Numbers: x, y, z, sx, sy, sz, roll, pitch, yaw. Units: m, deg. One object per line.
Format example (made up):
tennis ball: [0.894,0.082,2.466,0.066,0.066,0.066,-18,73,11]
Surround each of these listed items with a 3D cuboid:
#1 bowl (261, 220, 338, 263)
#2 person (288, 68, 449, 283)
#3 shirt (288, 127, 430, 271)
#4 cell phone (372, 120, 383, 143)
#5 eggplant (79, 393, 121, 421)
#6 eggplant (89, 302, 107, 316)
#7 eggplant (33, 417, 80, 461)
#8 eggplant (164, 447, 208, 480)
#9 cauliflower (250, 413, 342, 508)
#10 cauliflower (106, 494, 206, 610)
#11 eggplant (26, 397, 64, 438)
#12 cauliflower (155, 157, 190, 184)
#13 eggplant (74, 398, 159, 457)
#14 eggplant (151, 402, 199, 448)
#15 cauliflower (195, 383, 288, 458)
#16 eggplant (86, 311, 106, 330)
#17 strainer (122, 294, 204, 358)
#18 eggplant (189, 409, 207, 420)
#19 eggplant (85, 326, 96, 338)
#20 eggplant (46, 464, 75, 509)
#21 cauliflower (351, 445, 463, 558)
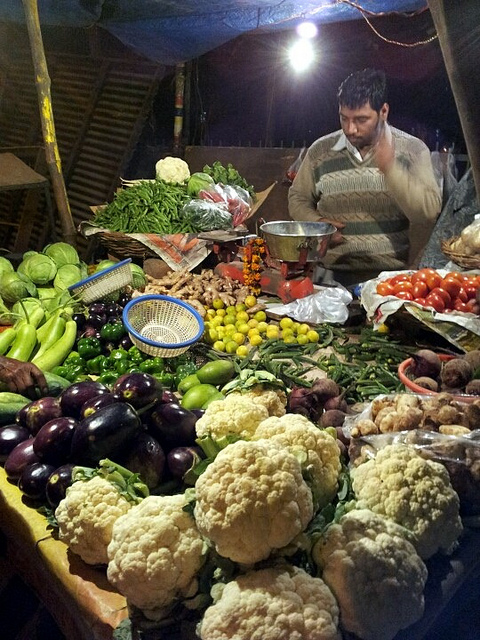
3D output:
bowl: [0.521,-0.690,4.138,0.597,0.334,0.725,-4,16,14]
person: [1.192,-1.326,4.792,0.703,1.953,1.335,-24,22,-39]
shirt: [1.229,-1.197,4.917,1.406,1.442,0.533,-1,19,26]
cell phone: [1.256,-1.731,4.381,0.042,0.164,0.045,8,42,-7]
eggplant: [-0.567,0.326,1.926,0.178,0.079,0.082,-20,38,-21]
eggplant: [-1.072,-0.090,3.626,0.093,0.060,0.112,-6,11,-3]
eggplant: [-0.750,0.488,1.944,0.208,0.159,0.144,-13,17,-16]
eggplant: [-0.209,0.546,1.848,0.140,0.078,0.110,0,-10,45]
cauliflower: [0.214,0.440,1.746,0.338,0.268,0.438,-3,11,-15]
cauliflower: [-0.250,0.690,1.413,0.275,0.230,0.229,-12,17,-12]
eggplant: [-0.861,0.404,2.103,0.189,0.196,0.171,-4,-1,-12]
cauliflower: [-0.853,-1.869,5.960,0.379,0.152,0.394,-27,49,-29]
eggplant: [-0.446,0.374,1.781,0.288,0.115,0.124,-21,55,-31]
eggplant: [-0.282,0.419,2.004,0.182,0.103,0.144,31,23,29]
cauliflower: [-0.018,0.386,1.921,0.294,0.214,0.479,-7,13,-24]
eggplant: [-1.056,0.006,3.542,0.159,0.106,0.107,-13,17,-16]
strainer: [-0.524,0.033,3.240,0.489,0.179,0.459,17,37,-8]
eggplant: [-0.182,0.407,2.078,0.060,0.035,0.057,2,-2,-7]
eggplant: [-1.073,0.084,3.441,0.049,0.056,0.047,-25,46,-25]
eggplant: [-0.663,0.608,1.793,0.103,0.163,0.130,9,20,-18]
cauliflower: [0.508,0.557,1.670,0.418,0.296,0.530,-2,9,7]
